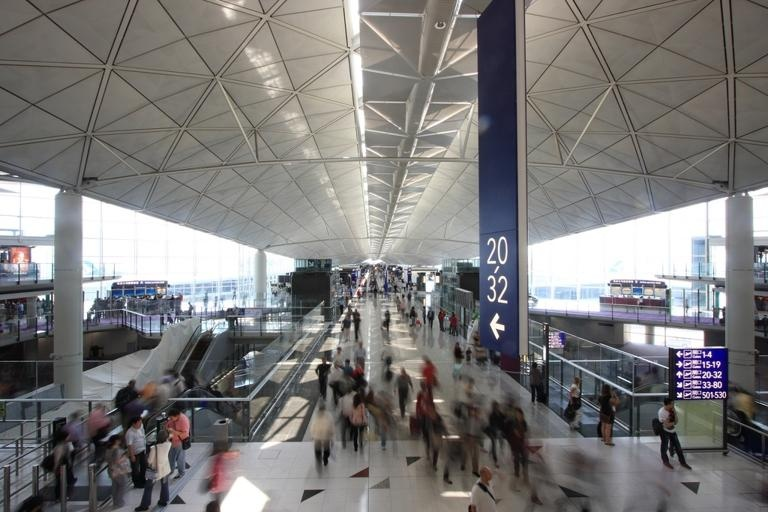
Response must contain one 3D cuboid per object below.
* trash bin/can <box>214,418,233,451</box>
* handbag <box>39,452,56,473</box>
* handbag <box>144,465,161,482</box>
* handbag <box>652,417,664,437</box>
[{"bbox_3d":[-6.493,7.164,19.553,0.599,1.034,1.105,1,-8,-15],"label":"trash bin/can"},{"bbox_3d":[-11.283,6.936,16.348,0.302,0.756,0.624,1,-3,-37],"label":"handbag"},{"bbox_3d":[-7.760,7.271,16.474,0.458,0.434,0.424,3,0,4],"label":"handbag"},{"bbox_3d":[10.715,6.695,19.084,0.179,0.581,0.419,3,-6,0],"label":"handbag"}]
